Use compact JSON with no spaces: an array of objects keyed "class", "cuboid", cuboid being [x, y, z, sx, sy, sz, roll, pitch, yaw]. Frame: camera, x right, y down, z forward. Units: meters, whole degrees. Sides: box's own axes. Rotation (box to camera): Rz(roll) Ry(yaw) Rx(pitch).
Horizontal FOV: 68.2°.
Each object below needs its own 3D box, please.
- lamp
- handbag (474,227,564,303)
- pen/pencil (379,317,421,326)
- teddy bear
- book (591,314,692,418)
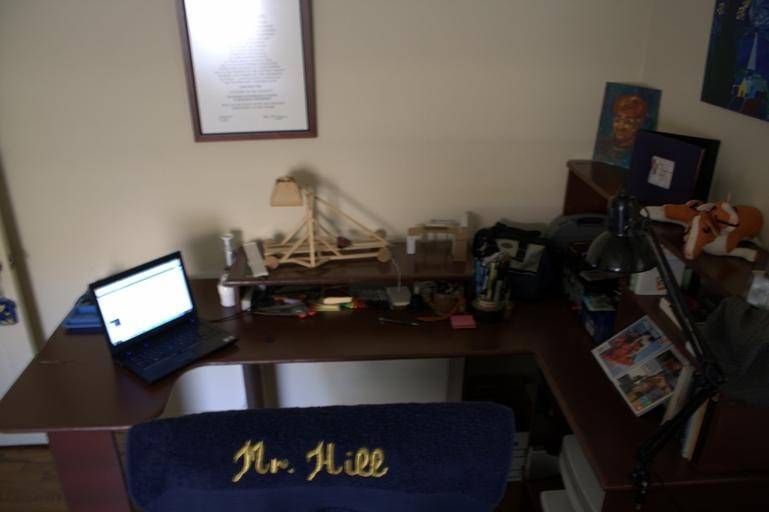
[{"class":"lamp","cuboid":[0.951,0.363,2.078,0.511,1.152,0.347,15,30,35]},{"class":"handbag","cuboid":[0.707,0.063,2.953,0.398,0.219,0.403,30,-21,-29]},{"class":"pen/pencil","cuboid":[0.073,0.337,2.884,0.139,0.018,0.019,6,32,7]},{"class":"teddy bear","cuboid":[1.260,-0.119,2.230,0.357,0.145,0.349,-15,23,-17]},{"class":"book","cuboid":[1.108,0.469,2.450,0.352,0.088,0.378,-38,43,10]}]
